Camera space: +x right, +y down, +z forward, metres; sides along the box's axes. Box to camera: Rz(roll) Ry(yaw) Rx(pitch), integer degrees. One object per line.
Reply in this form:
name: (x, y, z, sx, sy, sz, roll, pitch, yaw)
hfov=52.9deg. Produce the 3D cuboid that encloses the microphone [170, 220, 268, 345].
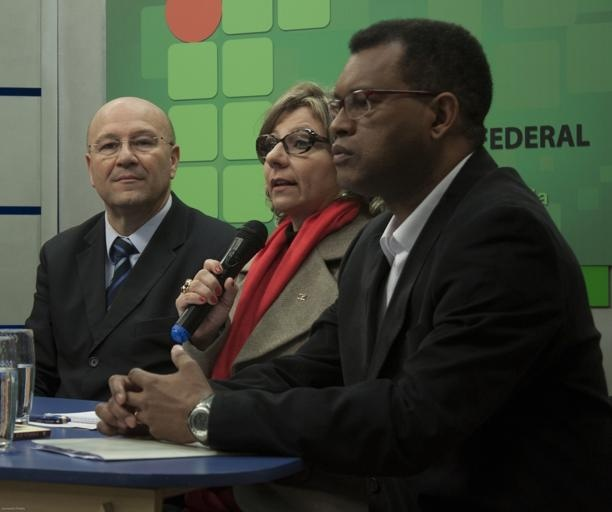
microphone: (-0.371, 0.137, 2.637, 0.150, 0.631, 0.150, 48, -30, -16)

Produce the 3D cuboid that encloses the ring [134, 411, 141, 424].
ring: (-0.437, 0.417, 1.586, 0.010, 0.037, 0.036, -12, 35, -13)

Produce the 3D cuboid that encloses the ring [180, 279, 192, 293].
ring: (-0.503, 0.129, 2.570, 0.021, 0.054, 0.038, 34, 10, -16)
